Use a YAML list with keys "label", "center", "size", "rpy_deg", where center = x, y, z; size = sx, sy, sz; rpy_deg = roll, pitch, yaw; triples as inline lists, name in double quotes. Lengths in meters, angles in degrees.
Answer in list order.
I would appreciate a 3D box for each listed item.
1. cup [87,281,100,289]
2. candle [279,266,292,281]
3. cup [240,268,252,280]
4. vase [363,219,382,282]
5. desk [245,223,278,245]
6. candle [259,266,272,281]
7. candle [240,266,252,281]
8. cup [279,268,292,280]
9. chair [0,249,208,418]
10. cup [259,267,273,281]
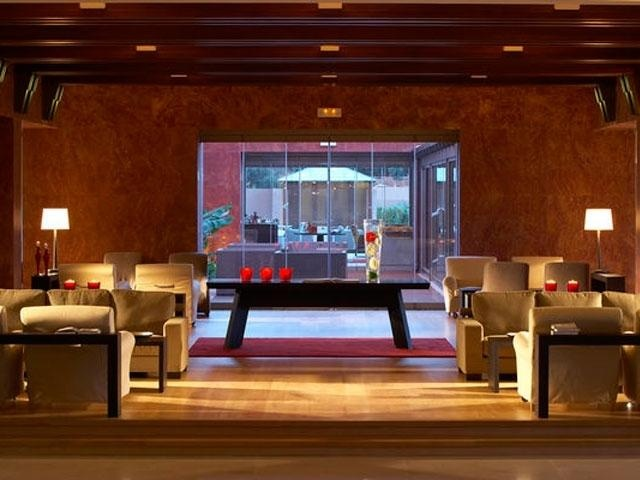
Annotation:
- label: "cup"
  center: [-2.991, 0.589, 8.751]
  size: [0.166, 0.102, 0.164]
  rpy_deg: [1, 4, 0]
- label: "candle"
  center: [-0.469, 0.463, 9.153]
  size: [0.171, 0.138, 0.181]
  rpy_deg: [2, 4, 21]
- label: "cup"
  center: [-1.018, 0.462, 9.181]
  size: [0.167, 0.131, 0.172]
  rpy_deg: [0, 3, 0]
- label: "vase"
  center: [0.729, 0.141, 9.185]
  size: [0.232, 0.849, 0.334]
  rpy_deg: [1, 3, 4]
- label: "desk"
  center: [-1.155, -0.135, 12.731]
  size: [0.653, 0.372, 0.472]
  rpy_deg: [2, -3, -2]
- label: "candle"
  center: [-0.712, 0.464, 9.199]
  size: [0.209, 0.158, 0.191]
  rpy_deg: [0, 1, -25]
- label: "candle"
  center: [-1.010, 0.476, 9.169]
  size: [0.177, 0.134, 0.175]
  rpy_deg: [-1, -1, -13]
- label: "cup"
  center: [-0.455, 0.470, 9.134]
  size: [0.173, 0.132, 0.158]
  rpy_deg: [0, 2, 0]
- label: "chair"
  center: [-2.281, 1.037, 7.404]
  size: [1.605, 1.272, 1.518]
  rpy_deg: [-1, -6, 6]
- label: "cup"
  center: [-0.710, 0.467, 9.208]
  size: [0.221, 0.167, 0.199]
  rpy_deg: [-1, 2, -34]
